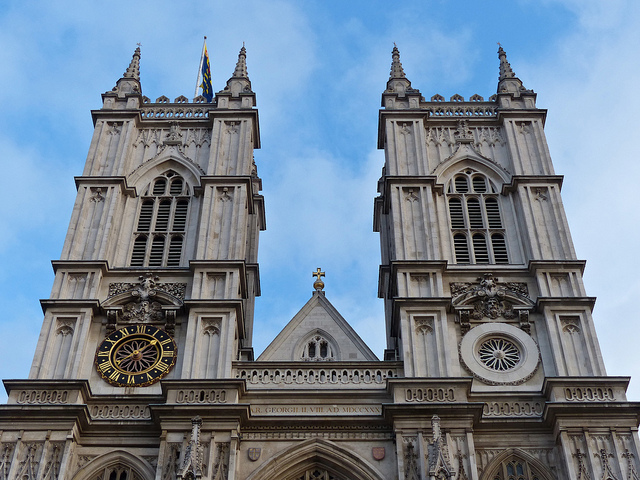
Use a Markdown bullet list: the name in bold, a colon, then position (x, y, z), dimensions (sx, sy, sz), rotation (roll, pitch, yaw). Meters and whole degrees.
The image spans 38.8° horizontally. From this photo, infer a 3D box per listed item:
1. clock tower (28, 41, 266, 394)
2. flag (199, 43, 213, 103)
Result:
- **clock tower**: position (-7.266, 0.696, 40.716), dimensions (5.564, 15.310, 6.006), rotation (4, -48, -3)
- **flag**: position (-6.842, -10.189, 54.915), dimensions (1.001, 5.423, 0.377), rotation (6, -29, -19)
